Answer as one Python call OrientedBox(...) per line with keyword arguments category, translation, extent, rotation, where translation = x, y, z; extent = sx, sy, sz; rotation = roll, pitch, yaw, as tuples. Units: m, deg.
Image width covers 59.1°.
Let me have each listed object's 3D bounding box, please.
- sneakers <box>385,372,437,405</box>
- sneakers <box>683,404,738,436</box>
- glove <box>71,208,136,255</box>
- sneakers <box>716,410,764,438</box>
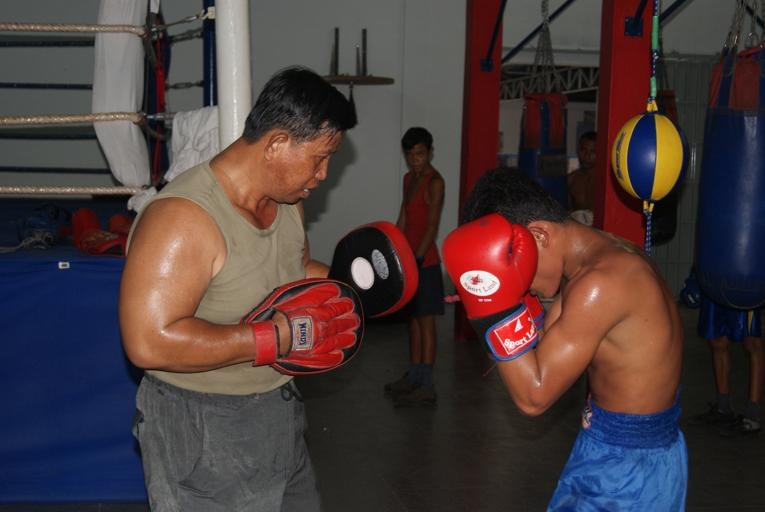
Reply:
OrientedBox(category="sneakers", translation=(0.200, 0.943, 4.755), extent=(0.208, 0.132, 0.261), rotation=(2, 0, -3))
OrientedBox(category="sneakers", translation=(2.171, 1.072, 4.433), extent=(0.398, 0.194, 0.153), rotation=(4, -9, 6))
OrientedBox(category="glove", translation=(-1.507, -0.117, 3.582), extent=(0.276, 0.168, 0.399), rotation=(3, 27, -14))
OrientedBox(category="sneakers", translation=(2.301, 1.087, 4.390), extent=(0.313, 0.141, 0.140), rotation=(1, 3, -2))
